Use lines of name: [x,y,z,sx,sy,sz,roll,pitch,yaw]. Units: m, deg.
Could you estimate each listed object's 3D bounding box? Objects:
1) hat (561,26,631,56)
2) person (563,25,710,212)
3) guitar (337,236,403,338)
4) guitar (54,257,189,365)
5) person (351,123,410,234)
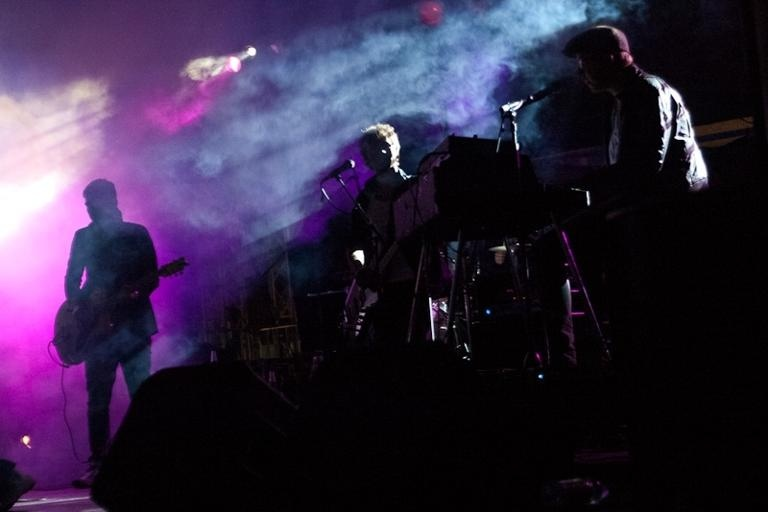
hat: [1.672,-1.708,5.686,0.354,0.155,0.281,5,19,12]
person: [1.908,-1.102,5.495,0.855,1.411,0.688,-12,6,21]
guitar: [-0.229,0.450,6.823,0.263,0.427,1.604,17,-40,-4]
guitar: [-2.625,0.537,6.974,1.473,0.691,0.215,-34,-6,13]
person: [-0.081,-0.720,6.900,0.608,0.881,0.766,-15,6,-1]
